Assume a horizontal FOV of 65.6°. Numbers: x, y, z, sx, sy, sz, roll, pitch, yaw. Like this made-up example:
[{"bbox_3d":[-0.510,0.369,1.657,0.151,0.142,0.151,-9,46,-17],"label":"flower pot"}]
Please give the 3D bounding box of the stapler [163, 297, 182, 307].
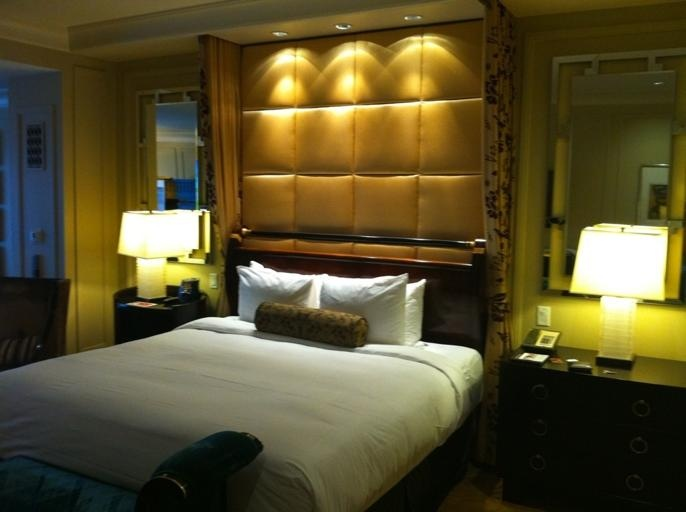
[{"bbox_3d":[-1.489,0.395,4.652,0.085,0.079,0.093,-12,-6,31],"label":"stapler"}]
